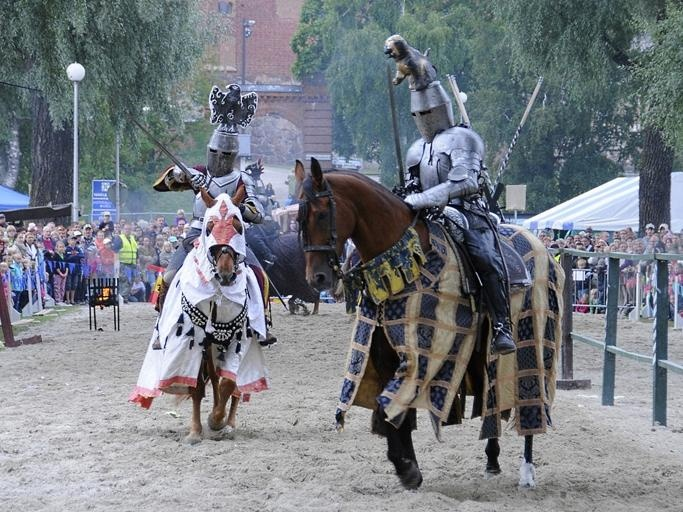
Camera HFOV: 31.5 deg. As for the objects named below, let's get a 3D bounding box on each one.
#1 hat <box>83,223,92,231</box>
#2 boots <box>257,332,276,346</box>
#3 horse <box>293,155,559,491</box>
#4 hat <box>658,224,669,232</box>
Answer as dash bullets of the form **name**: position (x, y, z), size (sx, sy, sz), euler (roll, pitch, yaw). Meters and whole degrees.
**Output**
- **hat**: position (-6.132, -0.749, 29.334), size (0.236, 0.141, 0.384), euler (-2, -8, -10)
- **boots**: position (-1.078, 1.187, 17.720), size (0.181, 0.180, 0.420), euler (3, 12, 10)
- **horse**: position (1.258, 0.976, 16.650), size (4.861, 4.060, 1.853), euler (8, -7, -42)
- **hat**: position (7.271, -0.653, 27.535), size (0.217, 0.265, 0.275), euler (-1, -1, 18)
